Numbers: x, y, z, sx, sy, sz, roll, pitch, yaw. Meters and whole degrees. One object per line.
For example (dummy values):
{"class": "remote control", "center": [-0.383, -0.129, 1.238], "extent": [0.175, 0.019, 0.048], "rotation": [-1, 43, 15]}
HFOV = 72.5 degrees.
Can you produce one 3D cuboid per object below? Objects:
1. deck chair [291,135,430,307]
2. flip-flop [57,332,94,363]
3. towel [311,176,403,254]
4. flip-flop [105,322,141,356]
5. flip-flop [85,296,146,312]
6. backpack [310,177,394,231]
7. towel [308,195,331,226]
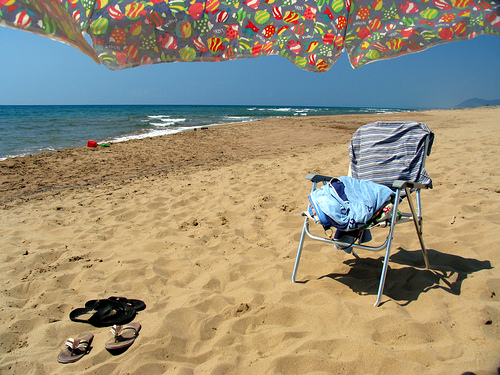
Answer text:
{"class": "deck chair", "center": [1.153, 0.206, 3.506], "extent": [1.408, 1.494, 1.115], "rotation": [-8, 10, -34]}
{"class": "flip-flop", "center": [-1.374, 1.255, 2.729], "extent": [0.210, 0.102, 0.313], "rotation": [4, 18, 26]}
{"class": "towel", "center": [0.914, 0.230, 3.194], "extent": [0.633, 0.588, 0.539], "rotation": [-19, 23, -39]}
{"class": "flip-flop", "center": [-1.066, 1.194, 2.865], "extent": [0.208, 0.123, 0.503], "rotation": [2, 0, -3]}
{"class": "flip-flop", "center": [-1.265, 1.066, 3.227], "extent": [0.503, 0.091, 0.189], "rotation": [0, 1, 6]}
{"class": "backpack", "center": [0.940, 0.063, 3.219], "extent": [0.671, 0.242, 0.647], "rotation": [-19, 36, -11]}
{"class": "towel", "center": [0.610, 0.213, 3.050], "extent": [0.060, 0.206, 0.159], "rotation": [-35, -8, 8]}
